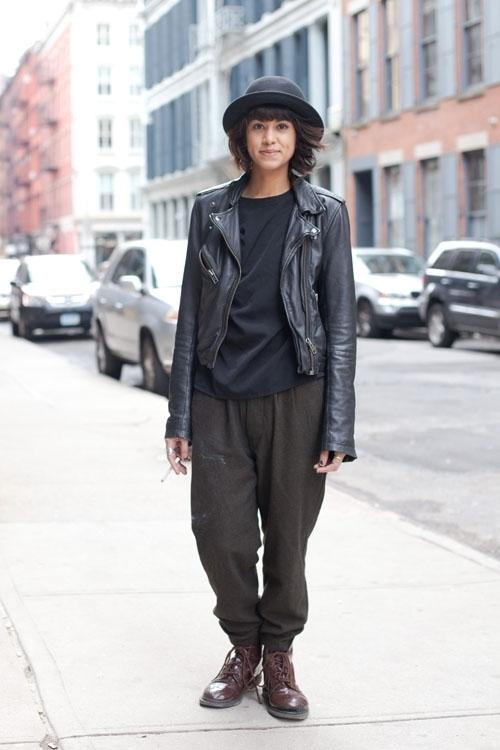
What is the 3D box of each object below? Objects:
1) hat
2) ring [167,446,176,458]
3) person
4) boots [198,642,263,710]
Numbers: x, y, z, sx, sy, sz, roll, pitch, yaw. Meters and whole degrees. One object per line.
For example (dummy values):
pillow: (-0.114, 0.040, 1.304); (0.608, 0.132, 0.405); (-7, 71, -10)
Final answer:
hat: (0.038, -0.735, 2.464); (0.261, 0.097, 0.222); (3, 2, -6)
ring: (-0.215, 0.212, 2.532); (0.026, 0.034, 0.014); (-2, -2, 27)
person: (0.025, 0.060, 2.471); (0.500, 1.674, 0.329); (1, 4, 1)
boots: (-0.037, 0.824, 2.547); (0.083, 0.102, 0.233); (9, 4, 25)
